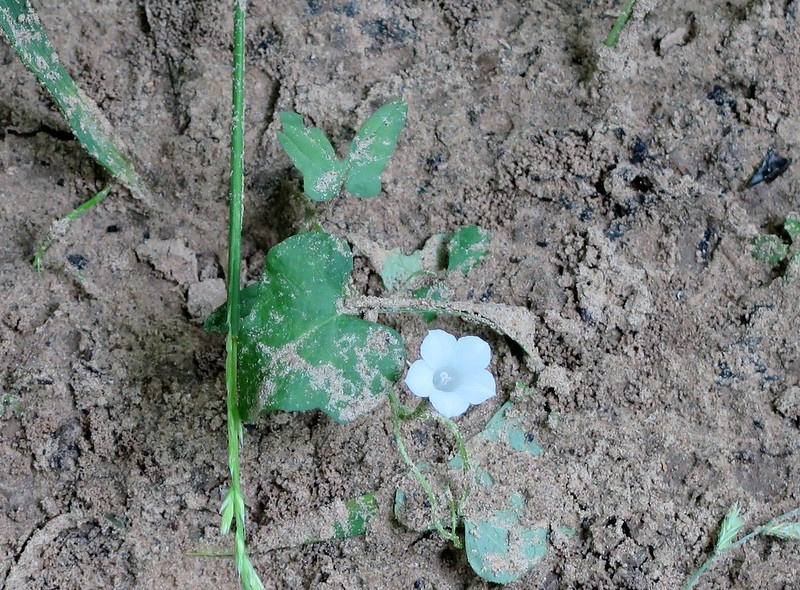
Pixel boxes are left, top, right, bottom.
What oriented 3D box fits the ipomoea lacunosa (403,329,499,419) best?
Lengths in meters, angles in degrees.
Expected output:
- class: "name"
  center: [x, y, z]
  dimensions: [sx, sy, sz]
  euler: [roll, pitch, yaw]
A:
- class: "ipomoea lacunosa"
  center: [0.143, 0.226, 2.553]
  dimensions: [0.248, 0.106, 0.236]
  euler: [7, 83, 3]
